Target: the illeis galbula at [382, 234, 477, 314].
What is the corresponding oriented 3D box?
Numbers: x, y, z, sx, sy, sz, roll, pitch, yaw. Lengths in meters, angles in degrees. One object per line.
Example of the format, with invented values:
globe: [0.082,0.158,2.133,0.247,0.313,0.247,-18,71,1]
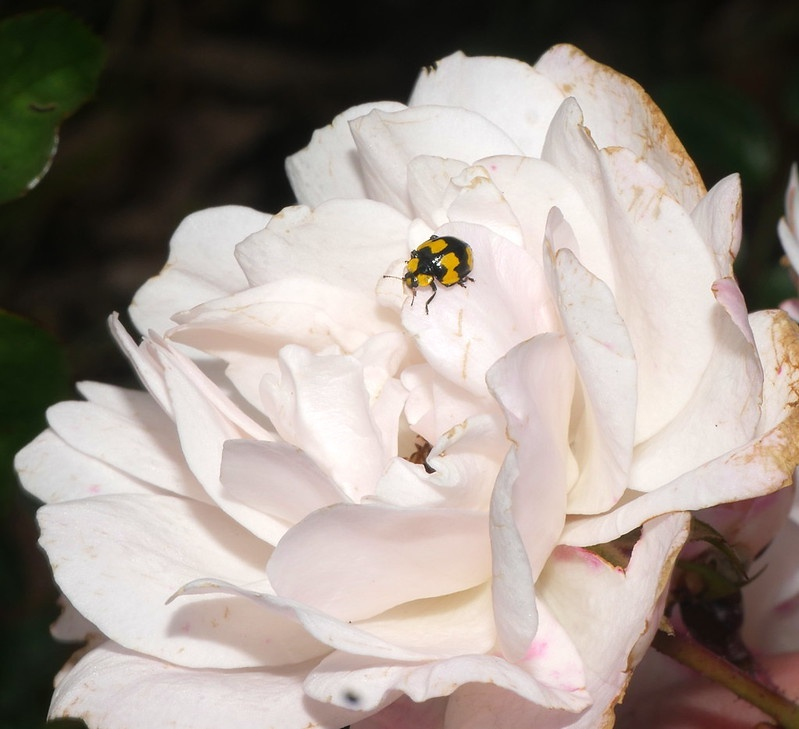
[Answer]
illeis galbula: [0.021,-0.046,0.581,0.048,0.015,0.035,-38,67,20]
